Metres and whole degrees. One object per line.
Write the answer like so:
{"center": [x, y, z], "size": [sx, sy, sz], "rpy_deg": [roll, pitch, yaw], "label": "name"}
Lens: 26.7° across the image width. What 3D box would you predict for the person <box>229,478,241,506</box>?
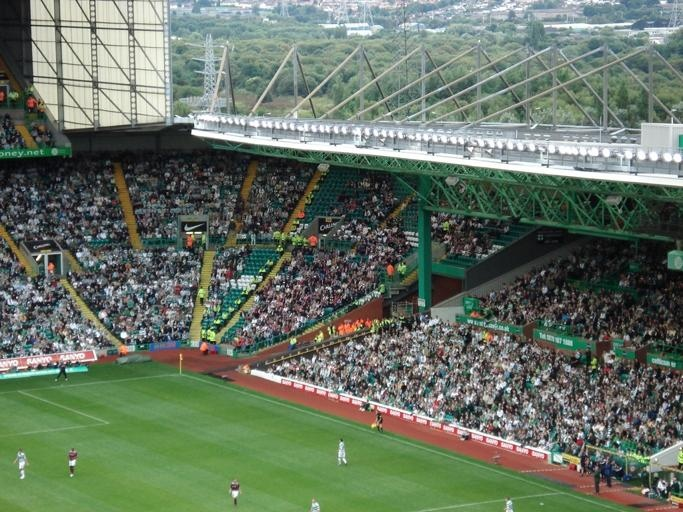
{"center": [-6.487, 14.408, 88.165], "size": [0.594, 1.460, 1.242], "rpy_deg": [2, 31, -5], "label": "person"}
